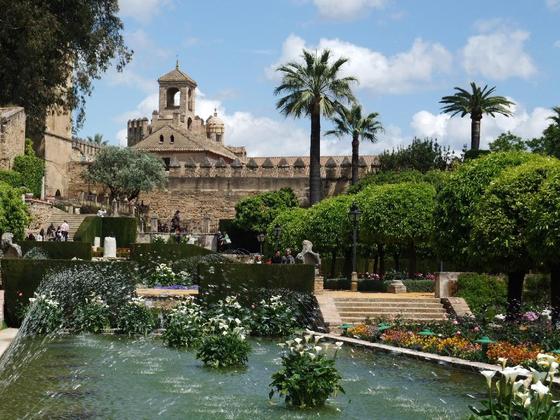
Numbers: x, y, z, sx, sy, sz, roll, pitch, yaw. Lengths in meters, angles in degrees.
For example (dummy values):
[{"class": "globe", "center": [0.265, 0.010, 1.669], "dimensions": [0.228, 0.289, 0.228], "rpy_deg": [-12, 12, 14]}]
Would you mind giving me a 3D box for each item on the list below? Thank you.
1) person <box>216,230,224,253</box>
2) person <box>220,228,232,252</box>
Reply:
[{"class": "person", "center": [-3.585, 1.824, 35.781], "dimensions": [0.604, 1.233, 0.730], "rpy_deg": [-1, -7, -4]}, {"class": "person", "center": [-3.237, 1.919, 35.850], "dimensions": [0.730, 0.764, 1.218], "rpy_deg": [-2, -37, -3]}]
